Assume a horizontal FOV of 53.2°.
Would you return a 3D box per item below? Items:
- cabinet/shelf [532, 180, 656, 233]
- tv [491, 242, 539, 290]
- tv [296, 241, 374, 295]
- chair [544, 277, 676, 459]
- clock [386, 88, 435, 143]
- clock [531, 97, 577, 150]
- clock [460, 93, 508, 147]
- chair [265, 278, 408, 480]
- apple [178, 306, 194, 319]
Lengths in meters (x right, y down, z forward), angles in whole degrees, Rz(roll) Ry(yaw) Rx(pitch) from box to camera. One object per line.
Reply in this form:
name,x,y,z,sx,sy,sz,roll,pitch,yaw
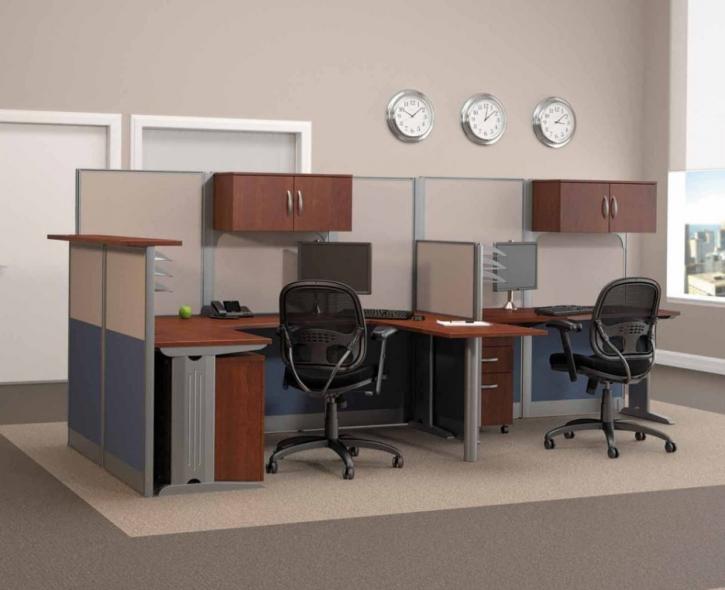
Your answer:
cabinet/shelf,1.943,-0.733,6.021,1.054,0.422,0.304,0,4,-12
tv,1.260,-0.224,5.764,0.142,0.371,0.386,-1,1,-43
tv,-0.208,-0.202,5.291,0.559,0.385,0.051,2,8,9
chair,1.704,0.469,5.110,1.076,1.165,1.086,2,-2,8
clock,0.447,-1.722,7.005,0.469,0.491,0.090,-1,4,-29
clock,1.996,-1.768,7.524,0.494,0.491,0.114,1,3,-27
clock,1.217,-1.751,7.246,0.481,0.478,0.107,1,5,-28
chair,-0.225,0.507,4.586,0.746,1.156,0.815,1,1,45
apple,-1.225,0.117,5.046,0.088,0.087,0.088,-9,12,-3
